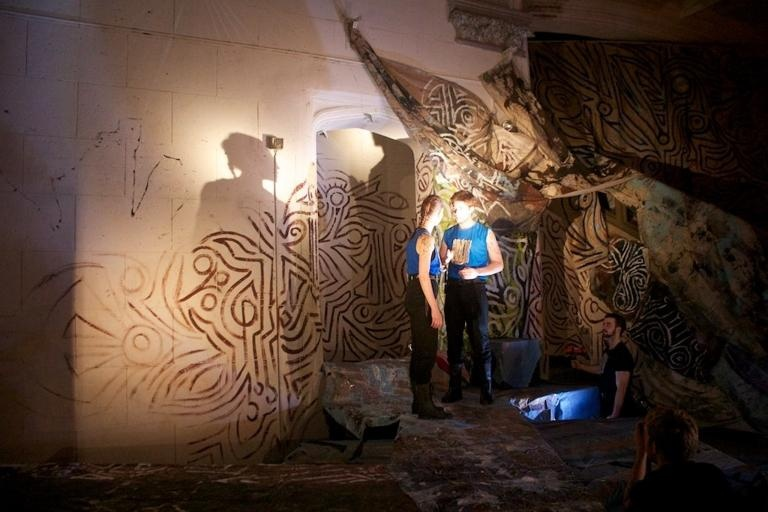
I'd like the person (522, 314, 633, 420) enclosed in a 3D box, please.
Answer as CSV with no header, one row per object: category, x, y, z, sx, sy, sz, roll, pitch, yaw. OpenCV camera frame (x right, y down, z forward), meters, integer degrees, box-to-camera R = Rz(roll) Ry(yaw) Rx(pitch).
person,2.720,1.418,7.832,1.131,1.341,2.448,-1,-5,29

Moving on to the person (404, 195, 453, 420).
person,0.465,0.533,6.451,0.444,2.403,0.402,1,-4,2
